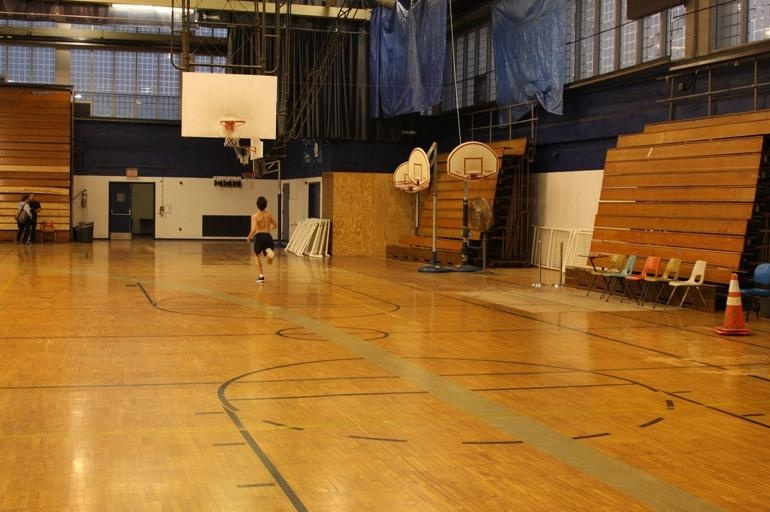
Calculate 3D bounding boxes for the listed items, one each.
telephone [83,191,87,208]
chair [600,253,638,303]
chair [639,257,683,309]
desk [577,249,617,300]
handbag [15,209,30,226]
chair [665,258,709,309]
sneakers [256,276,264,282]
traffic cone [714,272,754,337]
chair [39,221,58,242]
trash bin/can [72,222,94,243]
[{"bbox_3d":[-12.741,-2.431,24.863,0.106,0.736,0.229,10,10,36],"label":"telephone"},{"bbox_3d":[4.112,0.357,10.458,0.565,0.704,0.462,-2,7,-20],"label":"chair"},{"bbox_3d":[4.503,0.407,9.647,0.648,0.702,0.551,-7,8,-34],"label":"chair"},{"bbox_3d":[4.115,0.300,11.256,0.809,0.953,0.735,-2,3,-11],"label":"desk"},{"bbox_3d":[-12.829,-1.388,20.784,0.336,0.459,0.647,25,18,31],"label":"handbag"},{"bbox_3d":[4.869,0.456,9.399,0.530,0.807,0.990,8,8,26],"label":"chair"},{"bbox_3d":[-2.541,0.467,11.898,0.128,0.101,0.260,1,2,-13],"label":"sneakers"},{"bbox_3d":[4.745,0.628,7.890,0.392,0.806,0.792,9,9,32],"label":"traffic cone"},{"bbox_3d":[-12.729,-0.931,22.137,0.788,0.873,0.677,1,-1,-32],"label":"chair"},{"bbox_3d":[-12.050,-0.950,23.435,0.956,0.802,0.828,3,-3,-29],"label":"trash bin/can"}]
